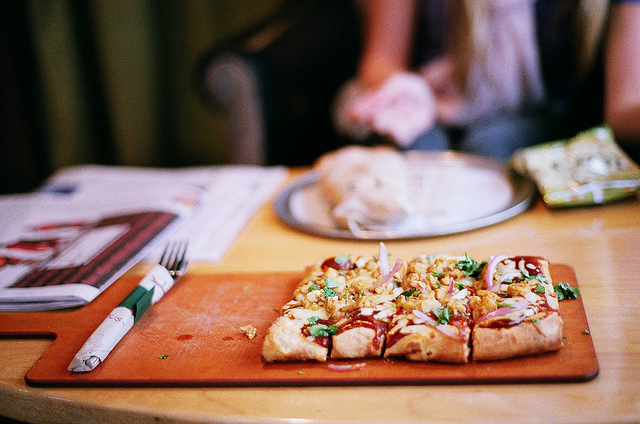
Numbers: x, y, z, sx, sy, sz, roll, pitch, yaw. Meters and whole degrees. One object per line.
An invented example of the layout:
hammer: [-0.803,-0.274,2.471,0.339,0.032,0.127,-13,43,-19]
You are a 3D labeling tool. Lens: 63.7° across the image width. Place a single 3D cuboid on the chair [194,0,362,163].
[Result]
chair: [-0.163,-0.695,2.988,0.906,1.071,0.871,-13,24,-4]
